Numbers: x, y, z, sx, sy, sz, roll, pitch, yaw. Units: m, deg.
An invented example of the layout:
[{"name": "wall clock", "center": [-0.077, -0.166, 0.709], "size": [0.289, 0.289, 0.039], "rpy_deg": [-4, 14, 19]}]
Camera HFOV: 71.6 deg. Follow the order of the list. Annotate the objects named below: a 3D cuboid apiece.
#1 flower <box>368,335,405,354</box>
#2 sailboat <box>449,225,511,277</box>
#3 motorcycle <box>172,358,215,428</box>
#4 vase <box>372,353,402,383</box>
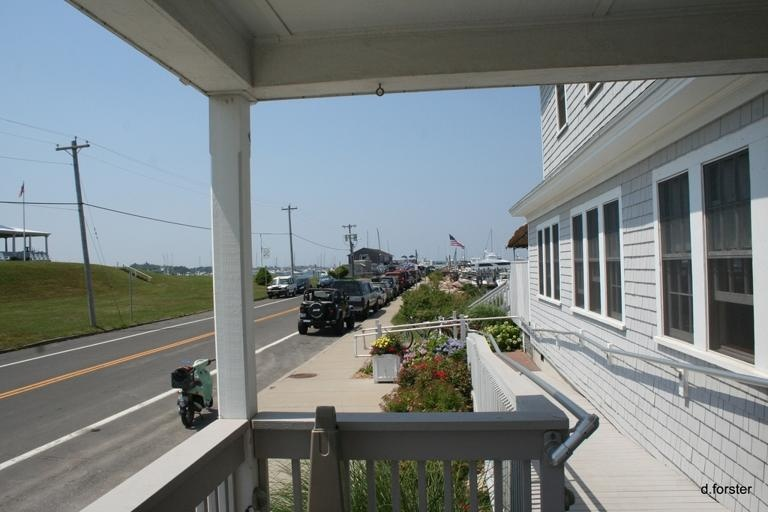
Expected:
[{"name": "flower", "center": [0.084, 2.101, 12.609], "size": [0.478, 0.341, 0.491], "rpy_deg": [-1, -2, 31]}, {"name": "sailboat", "center": [10.225, 0.913, 56.887], "size": [3.917, 5.873, 14.419], "rpy_deg": [-1, -1, -7]}, {"name": "motorcycle", "center": [-3.857, 2.698, 10.673], "size": [0.651, 0.900, 1.608], "rpy_deg": [-4, 1, -2]}, {"name": "vase", "center": [0.048, 2.594, 12.653], "size": [0.598, 0.619, 0.622], "rpy_deg": [0, 2, 0]}]
